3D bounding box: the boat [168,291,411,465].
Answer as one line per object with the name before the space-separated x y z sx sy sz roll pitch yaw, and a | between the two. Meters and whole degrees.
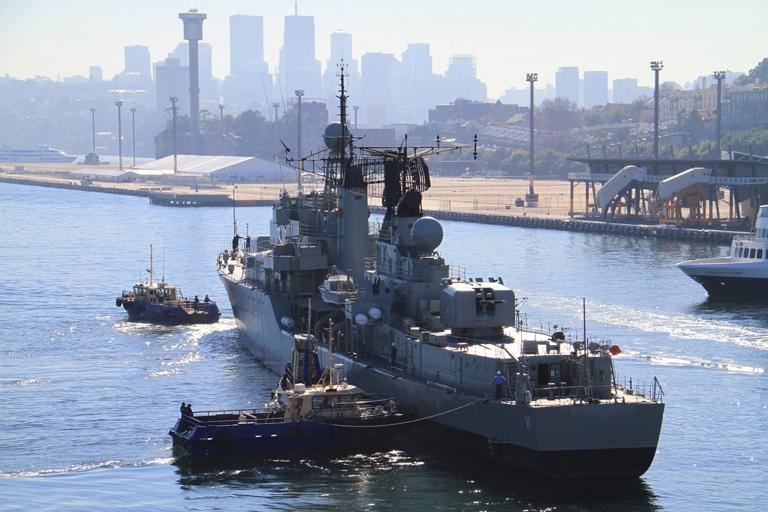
boat | -10.546 12.561 155.700 26.196 10.587 8.323 -2 8 -7
